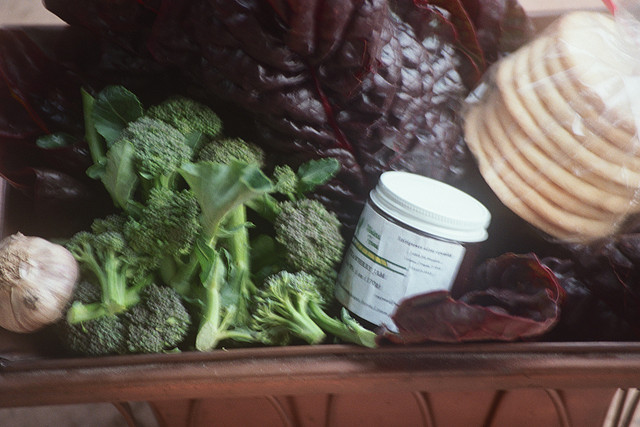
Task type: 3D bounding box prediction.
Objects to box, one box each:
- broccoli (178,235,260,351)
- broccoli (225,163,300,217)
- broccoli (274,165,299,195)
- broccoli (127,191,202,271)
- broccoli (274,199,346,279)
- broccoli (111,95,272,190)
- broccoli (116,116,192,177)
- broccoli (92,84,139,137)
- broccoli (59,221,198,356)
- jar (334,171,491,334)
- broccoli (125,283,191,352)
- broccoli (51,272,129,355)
[{"bbox_3d":[-0.180,0.129,1.102,0.133,0.188,0.142,18,48,-30],"label":"broccoli"},{"bbox_3d":[-0.086,-0.035,1.032,0.099,0.026,0.092,-20,27,-38],"label":"broccoli"},{"bbox_3d":[-0.054,-0.054,1.075,0.045,0.039,0.017,11,-5,8],"label":"broccoli"},{"bbox_3d":[-0.246,0.026,1.085,0.115,0.131,0.070,-5,40,-9],"label":"broccoli"},{"bbox_3d":[-0.012,0.039,1.133,0.109,0.118,0.120,-2,22,-3],"label":"broccoli"},{"bbox_3d":[-0.209,-0.116,1.123,0.217,0.078,0.153,-32,79,-17],"label":"broccoli"},{"bbox_3d":[-0.257,-0.106,1.070,0.107,0.079,0.063,2,39,-1],"label":"broccoli"},{"bbox_3d":[-0.315,-0.167,1.071,0.057,0.058,0.025,-2,19,10],"label":"broccoli"},{"bbox_3d":[-0.374,0.129,1.151,0.265,0.194,0.122,-15,52,24],"label":"broccoli"},{"bbox_3d":[0.132,0.043,1.143,0.272,0.261,0.246,19,23,-10],"label":"jar"},{"bbox_3d":[-0.264,0.171,1.102,0.107,0.081,0.083,4,38,2],"label":"broccoli"},{"bbox_3d":[-0.384,0.141,1.163,0.142,0.117,0.059,-39,64,-11],"label":"broccoli"}]
